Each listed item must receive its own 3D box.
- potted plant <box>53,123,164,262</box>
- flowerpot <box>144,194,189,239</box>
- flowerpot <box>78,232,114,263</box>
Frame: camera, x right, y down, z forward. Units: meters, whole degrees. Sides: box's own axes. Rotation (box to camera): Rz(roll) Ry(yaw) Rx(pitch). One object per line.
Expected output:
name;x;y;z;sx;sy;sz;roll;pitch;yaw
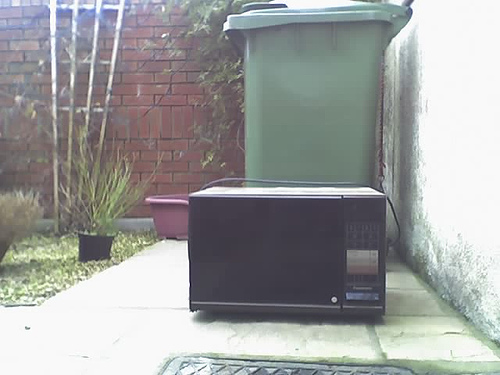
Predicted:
potted plant;-1.294;-0.021;5.026;1.158;1.129;1.938;-5;11;-23
flowerpot;-0.769;0.350;5.224;0.481;0.391;0.468;2;-10;-9
flowerpot;-1.223;0.482;4.112;0.208;0.188;0.205;0;-6;12
